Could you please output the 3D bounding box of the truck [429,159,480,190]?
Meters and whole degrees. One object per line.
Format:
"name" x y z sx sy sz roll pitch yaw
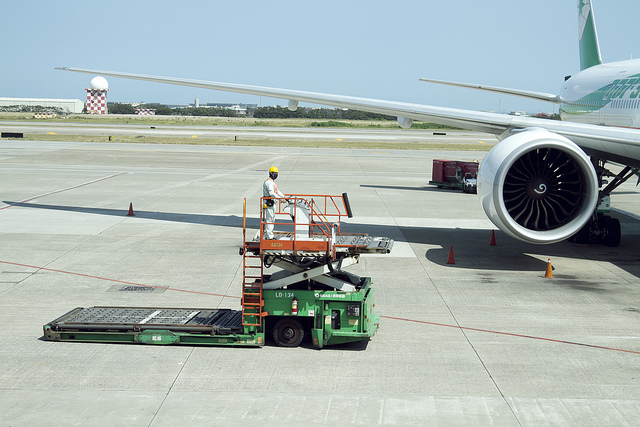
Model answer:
"truck" 9.241 -2.583 38.012 1.531 1.836 4.199 -10 11 -29

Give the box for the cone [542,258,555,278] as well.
"cone" 7.933 1.891 19.329 0.531 0.602 0.514 -2 1 -44

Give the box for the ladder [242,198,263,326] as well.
"ladder" -2.022 1.465 16.700 1.040 3.499 0.841 2 -1 -17
